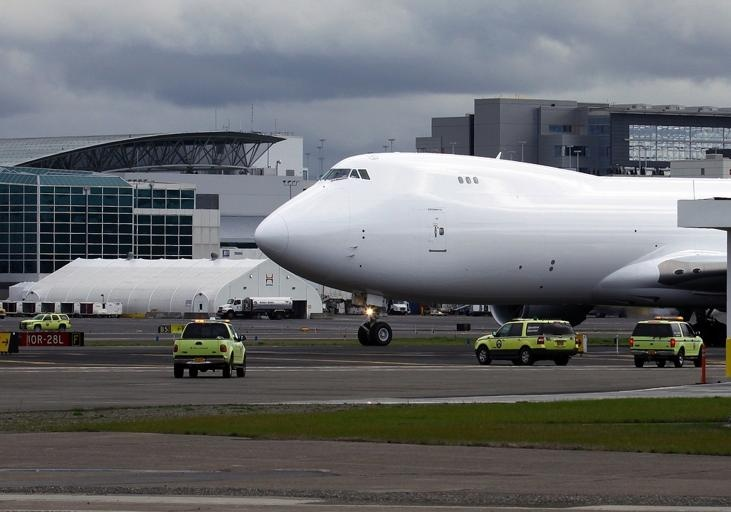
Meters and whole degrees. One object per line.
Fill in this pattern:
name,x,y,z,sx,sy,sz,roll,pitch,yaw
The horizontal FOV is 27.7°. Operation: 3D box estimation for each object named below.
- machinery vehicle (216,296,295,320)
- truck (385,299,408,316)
machinery vehicle,-9.135,4.309,124.731,7.003,1.654,1.987,1,-1,-22
truck,3.006,5.030,146.569,2.853,1.710,3.650,0,-4,-13
